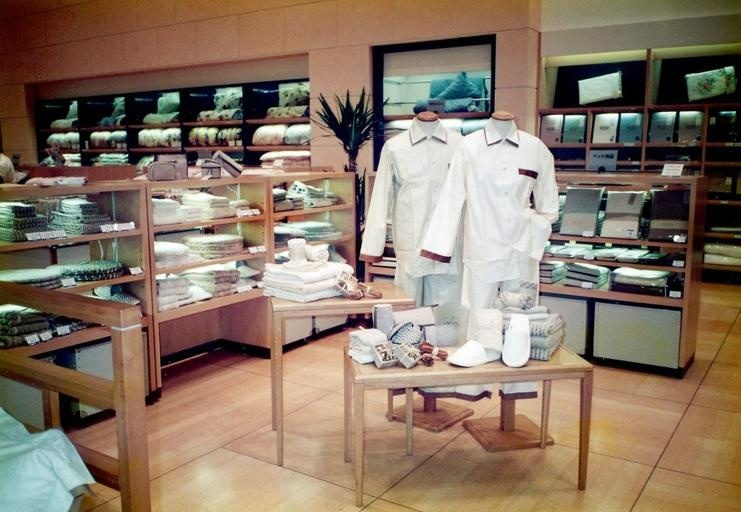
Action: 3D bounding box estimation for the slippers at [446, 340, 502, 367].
[{"bbox_3d":[0.618,0.592,3.211,0.313,0.108,0.154,-5,11,-25],"label":"slippers"}]

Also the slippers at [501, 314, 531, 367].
[{"bbox_3d":[0.871,0.506,3.174,0.163,0.281,0.179,3,12,16],"label":"slippers"}]

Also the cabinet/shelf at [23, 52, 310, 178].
[{"bbox_3d":[-3.802,-2.577,9.919,6.696,1.731,0.466,5,13,27],"label":"cabinet/shelf"}]

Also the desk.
[{"bbox_3d":[0.373,0.751,3.880,1.660,1.020,1.663,-2,15,-9],"label":"desk"}]

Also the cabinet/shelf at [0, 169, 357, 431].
[{"bbox_3d":[-1.572,0.384,4.304,0.621,1.193,2.299,3,8,33],"label":"cabinet/shelf"}]
